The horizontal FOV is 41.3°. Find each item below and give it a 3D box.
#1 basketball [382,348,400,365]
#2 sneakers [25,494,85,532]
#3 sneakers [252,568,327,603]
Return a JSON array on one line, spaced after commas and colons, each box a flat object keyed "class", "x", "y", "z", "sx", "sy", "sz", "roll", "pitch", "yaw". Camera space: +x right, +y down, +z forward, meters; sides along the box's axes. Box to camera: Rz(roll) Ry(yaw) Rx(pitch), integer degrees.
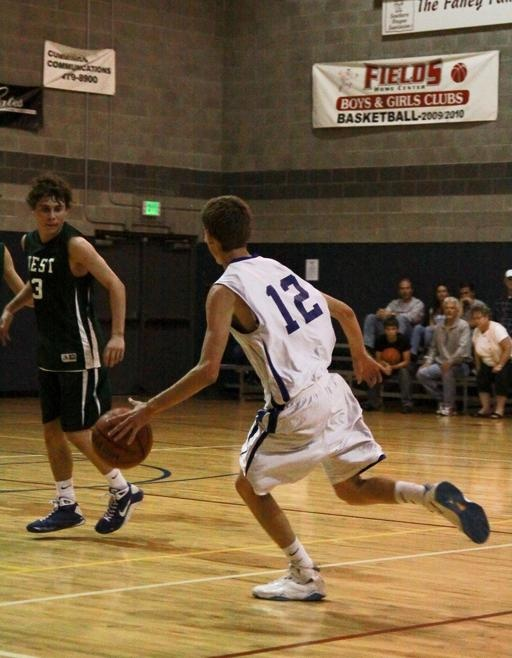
[{"class": "basketball", "x": 1.963, "y": 0.424, "z": 10.091, "sx": 0.266, "sy": 0.234, "sz": 0.245, "roll": 4, "pitch": -14, "yaw": -9}, {"class": "sneakers", "x": -0.943, "y": 0.887, "z": 3.256, "sx": 0.329, "sy": 0.181, "sz": 0.111, "roll": -3, "pitch": -4, "yaw": -7}, {"class": "sneakers", "x": 0.114, "y": 0.807, "z": 2.171, "sx": 0.279, "sy": 0.120, "sz": 0.091, "roll": 1, "pitch": -7, "yaw": 4}]
